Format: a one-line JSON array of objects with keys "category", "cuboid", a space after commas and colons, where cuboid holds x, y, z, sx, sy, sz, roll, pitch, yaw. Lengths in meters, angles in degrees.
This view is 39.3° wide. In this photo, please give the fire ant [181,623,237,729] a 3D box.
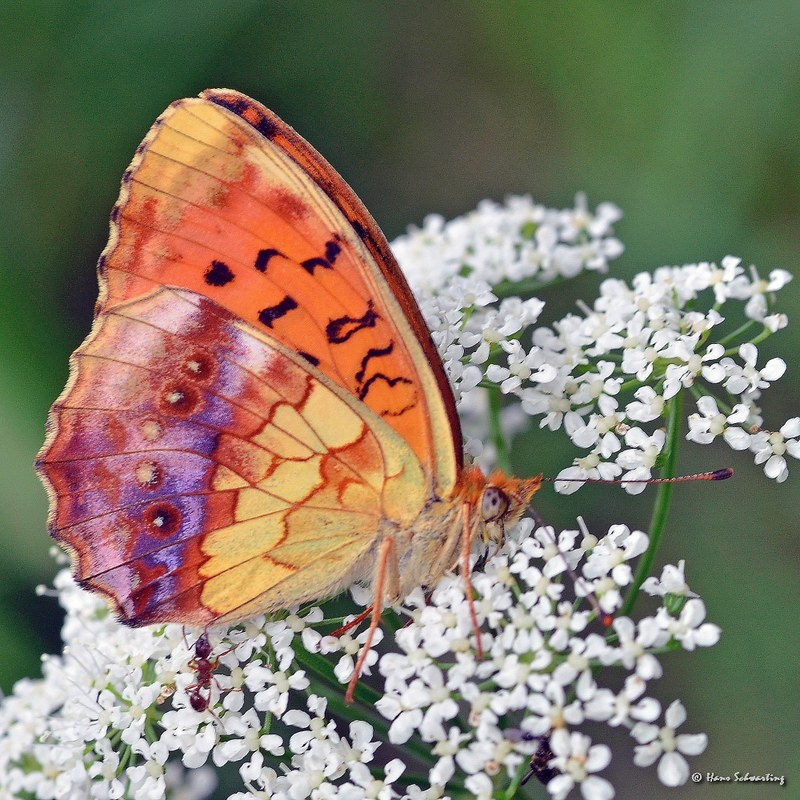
[{"category": "fire ant", "cuboid": [-0.839, 1.170, 4.758, 0.207, 0.232, 0.307, -1, 97, -22]}]
